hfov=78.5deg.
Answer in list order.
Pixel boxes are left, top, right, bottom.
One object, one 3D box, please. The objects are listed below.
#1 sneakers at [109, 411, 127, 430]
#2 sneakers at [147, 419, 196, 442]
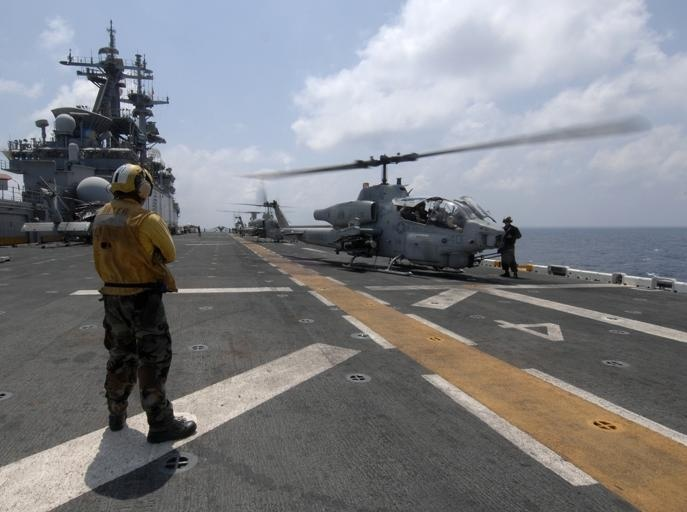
[{"bbox_3d":[-2.513,1.867,4.743,0.118,0.110,0.278,4,4,-10],"label":"sneakers"},{"bbox_3d":[-1.842,1.916,4.600,0.492,0.176,0.198,-2,5,-29],"label":"sneakers"}]
